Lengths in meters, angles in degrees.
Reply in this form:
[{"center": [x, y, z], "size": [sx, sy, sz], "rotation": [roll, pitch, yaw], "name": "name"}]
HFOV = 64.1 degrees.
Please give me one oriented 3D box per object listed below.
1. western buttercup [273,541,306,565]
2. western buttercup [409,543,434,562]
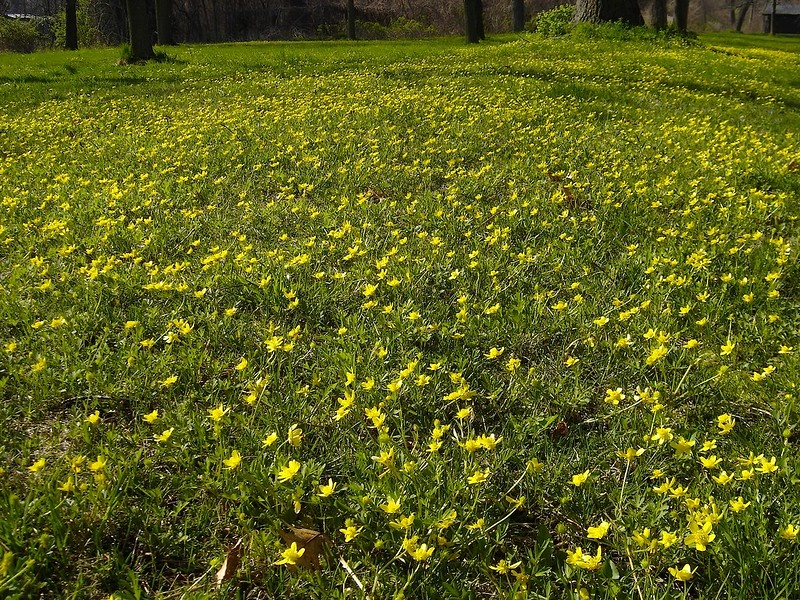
[{"center": [-0.483, 1.105, 2.784], "size": [0.104, 0.056, 0.109], "rotation": [-25, 21, 2], "name": "western buttercup"}, {"center": [0.097, 1.058, 2.703], "size": [0.074, 0.061, 0.091], "rotation": [-3, -4, -3], "name": "western buttercup"}]
